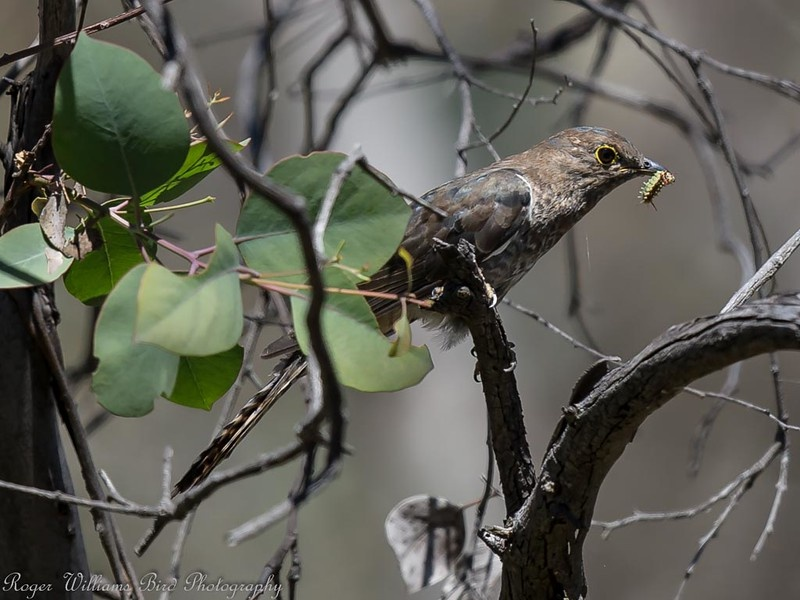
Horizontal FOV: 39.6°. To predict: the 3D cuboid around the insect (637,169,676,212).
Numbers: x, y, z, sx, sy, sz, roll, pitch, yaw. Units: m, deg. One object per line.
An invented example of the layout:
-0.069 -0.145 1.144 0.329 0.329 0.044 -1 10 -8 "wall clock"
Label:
0.912 -0.407 4.022 0.178 0.083 0.083 -38 -72 18 "insect"
